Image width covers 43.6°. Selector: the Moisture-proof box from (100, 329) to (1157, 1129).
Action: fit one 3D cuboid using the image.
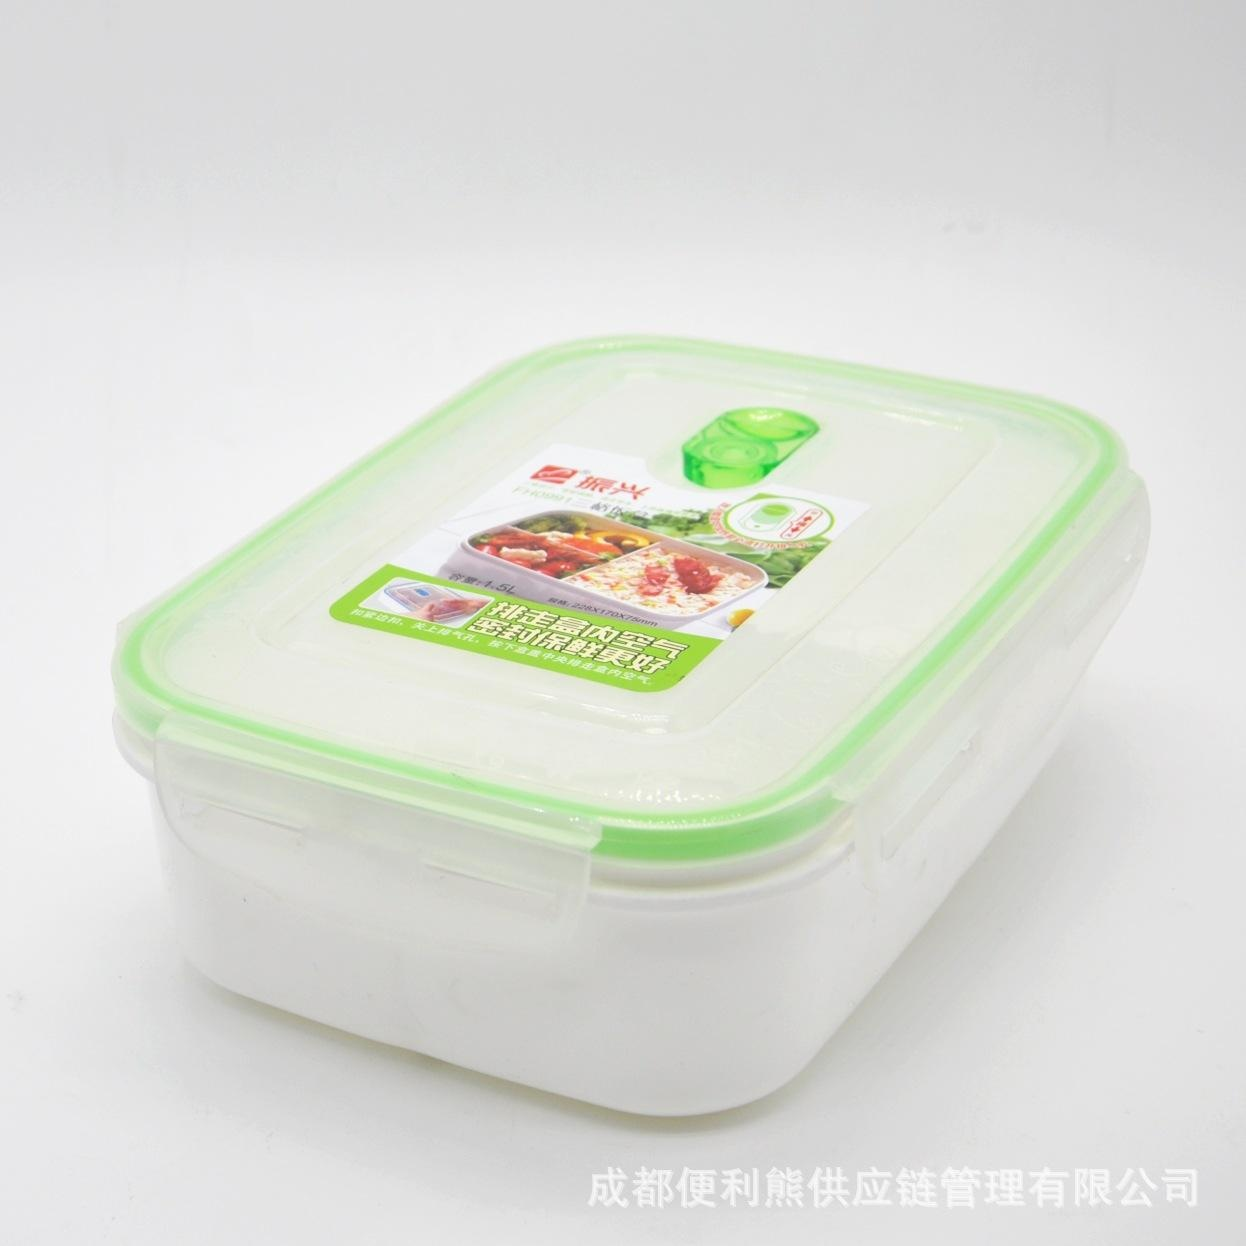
[{"bbox_3d":[0.012,0.032,1.144,0.539,0.338,0.667,13,26,27],"label":"Moisture-proof box"}]
